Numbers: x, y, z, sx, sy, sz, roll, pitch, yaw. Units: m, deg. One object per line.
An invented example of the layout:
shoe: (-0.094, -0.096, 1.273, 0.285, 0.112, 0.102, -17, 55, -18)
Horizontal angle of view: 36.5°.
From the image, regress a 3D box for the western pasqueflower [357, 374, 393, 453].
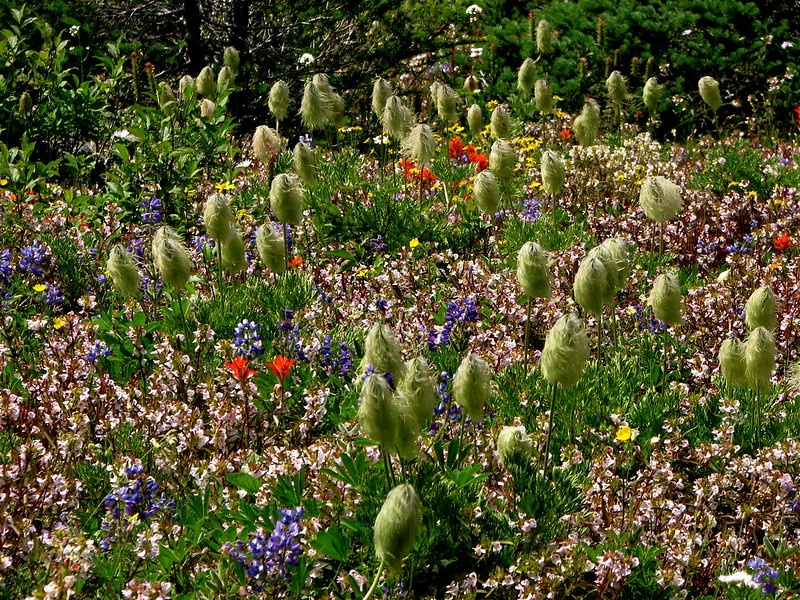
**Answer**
western pasqueflower: (-0.109, 0.540, 5.932, 0.162, 0.356, 0.152, -8, 9, -10)

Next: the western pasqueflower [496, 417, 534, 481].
western pasqueflower: (0.608, 0.798, 6.435, 0.170, 0.208, 0.243, 1, -25, 1)

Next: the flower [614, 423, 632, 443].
flower: (1.229, 0.738, 6.640, 0.094, 0.112, 0.145, -2, 20, 12)

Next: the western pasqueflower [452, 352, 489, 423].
western pasqueflower: (0.376, 0.471, 6.326, 0.194, 0.411, 0.209, -6, 19, 1)

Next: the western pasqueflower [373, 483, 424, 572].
western pasqueflower: (-0.011, 1.065, 5.784, 0.222, 0.387, 0.173, 26, 12, 34)

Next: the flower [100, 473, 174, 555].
flower: (-1.407, 1.068, 6.340, 0.352, 0.344, 0.378, -21, 10, -20)

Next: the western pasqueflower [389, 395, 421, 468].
western pasqueflower: (0.028, 0.625, 6.084, 0.132, 0.392, 0.263, -6, 19, 0)
